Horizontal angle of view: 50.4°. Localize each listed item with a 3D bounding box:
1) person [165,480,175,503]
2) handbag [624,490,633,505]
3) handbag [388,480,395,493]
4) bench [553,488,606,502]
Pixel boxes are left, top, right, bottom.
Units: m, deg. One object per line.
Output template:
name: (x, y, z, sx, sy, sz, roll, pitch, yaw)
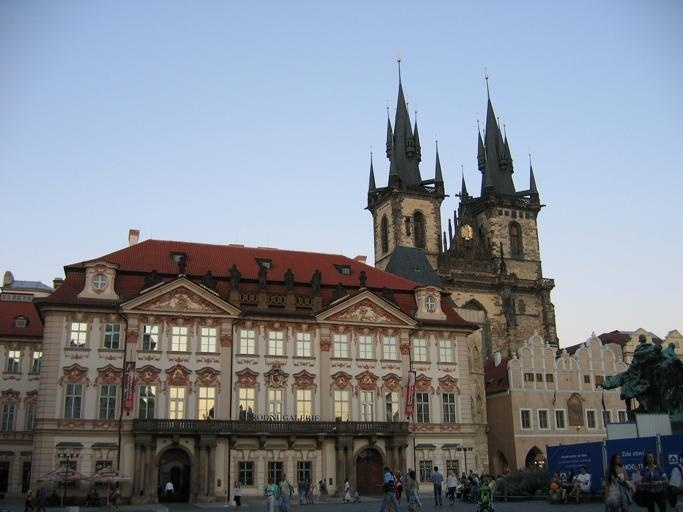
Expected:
person: (-12.756, 17.313, 53.545, 0.564, 1.276, 2.053, 1, -16, -14)
handbag: (9.976, 8.409, 25.286, 0.225, 0.442, 1.189, -10, -17, 21)
handbag: (2.297, 11.129, 35.188, 0.406, 0.653, 0.574, -2, -16, -6)
bench: (11.774, 12.145, 36.892, 1.649, 0.537, 1.161, -1, -19, 9)
